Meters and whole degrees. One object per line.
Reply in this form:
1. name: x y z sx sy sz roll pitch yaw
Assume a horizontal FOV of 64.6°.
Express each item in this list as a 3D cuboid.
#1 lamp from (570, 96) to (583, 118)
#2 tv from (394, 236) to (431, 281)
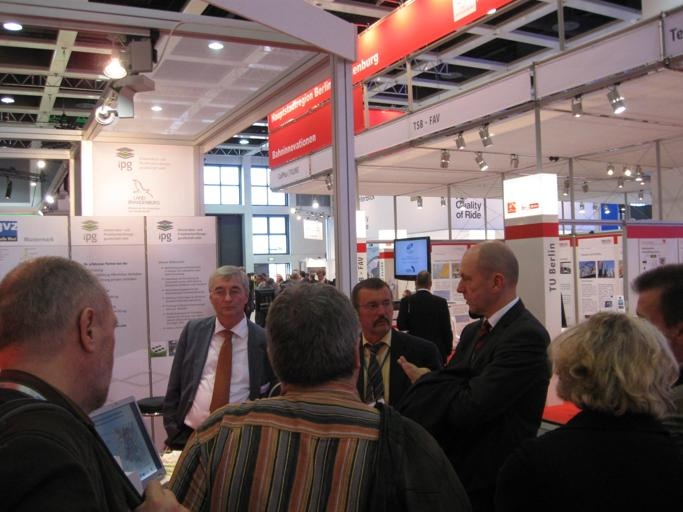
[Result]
1. lamp: 2.346 -1.484 5.364 0.086 0.192 0.347 -1 -2 24
2. tv: 1.122 0.038 8.449 0.090 0.553 0.670 6 -13 -28
